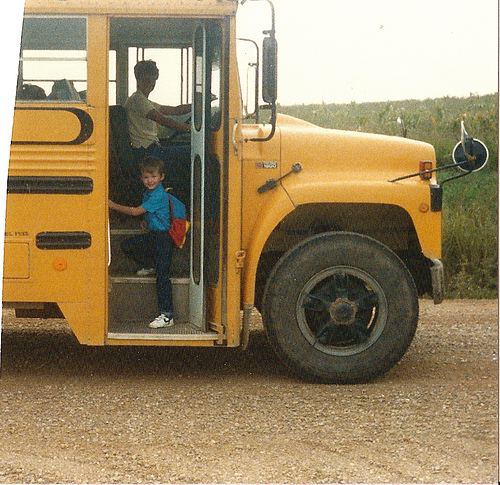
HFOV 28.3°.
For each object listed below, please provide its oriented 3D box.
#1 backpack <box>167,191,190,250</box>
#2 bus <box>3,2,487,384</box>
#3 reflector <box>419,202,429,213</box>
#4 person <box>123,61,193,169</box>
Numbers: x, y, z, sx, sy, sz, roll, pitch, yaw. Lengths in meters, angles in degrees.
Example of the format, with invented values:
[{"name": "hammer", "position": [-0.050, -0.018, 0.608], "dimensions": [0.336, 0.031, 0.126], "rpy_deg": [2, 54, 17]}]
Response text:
[{"name": "backpack", "position": [-0.501, -0.143, 7.240], "dimensions": [0.109, 0.264, 0.156], "rpy_deg": [-7, -6, 9]}, {"name": "bus", "position": [-0.194, -0.379, 7.211], "dimensions": [3.283, 2.193, 2.203], "rpy_deg": [-1, 7, -2]}, {"name": "reflector", "position": [1.211, -0.244, 6.913], "dimensions": [0.053, 0.069, 0.013], "rpy_deg": [5, 2, -6]}, {"name": "person", "position": [-0.692, -0.880, 7.778], "dimensions": [0.559, 1.136, 0.442], "rpy_deg": [-1, 3, -1]}]
